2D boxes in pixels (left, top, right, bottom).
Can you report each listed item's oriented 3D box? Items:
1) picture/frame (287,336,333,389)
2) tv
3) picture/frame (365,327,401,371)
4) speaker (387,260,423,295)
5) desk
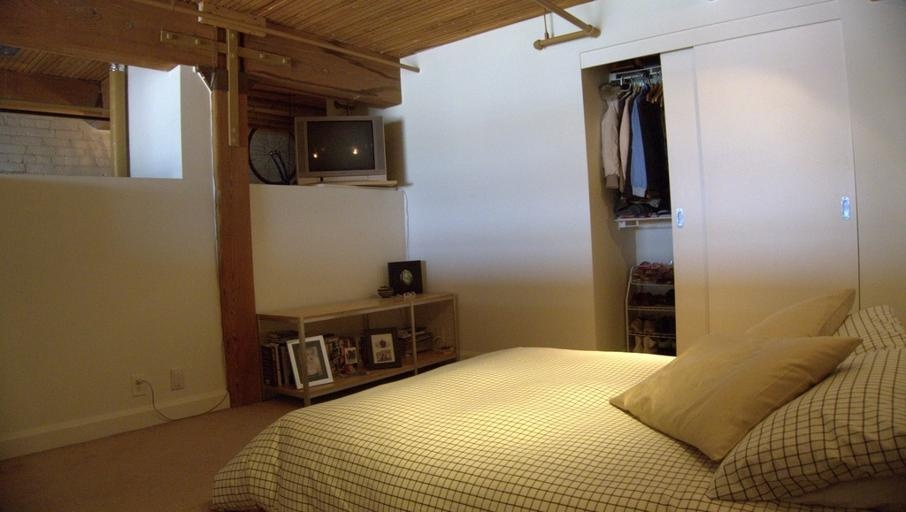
[{"bbox_3d":[-1.300,0.964,5.342,0.491,0.535,0.042,-8,-11,-45],"label":"picture/frame"},{"bbox_3d":[-1.082,-1.135,6.484,1.107,0.690,0.577,1,8,16],"label":"tv"},{"bbox_3d":[-0.690,0.917,5.790,0.424,0.447,0.039,-2,-17,-13],"label":"picture/frame"},{"bbox_3d":[-0.468,0.222,6.373,0.477,0.319,0.460,-2,4,39],"label":"speaker"},{"bbox_3d":[-0.761,0.911,5.895,1.738,0.768,0.506,-10,-1,-35],"label":"desk"}]
